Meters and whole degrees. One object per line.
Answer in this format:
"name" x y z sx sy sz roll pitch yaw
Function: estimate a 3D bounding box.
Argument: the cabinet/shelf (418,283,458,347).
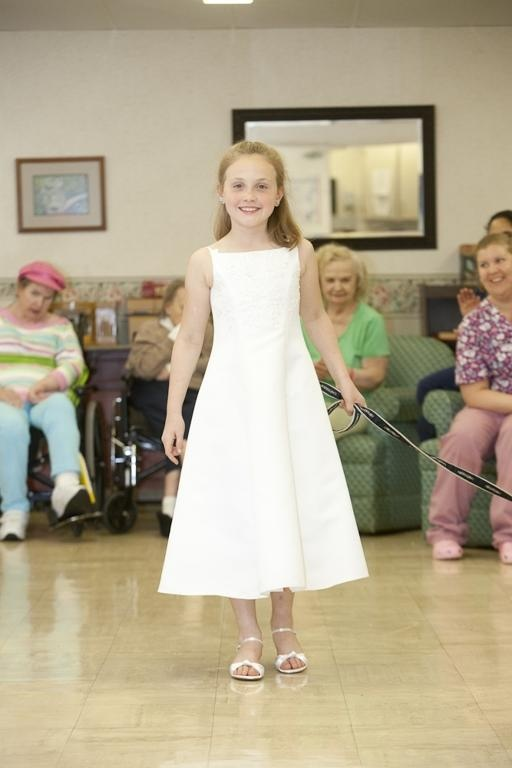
"cabinet/shelf" 1.154 -0.378 4.610 0.175 0.484 0.283 2 10 16

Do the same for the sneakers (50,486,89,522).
"sneakers" -0.790 0.514 3.116 0.119 0.145 0.186 2 -13 -35

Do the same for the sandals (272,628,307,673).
"sandals" 0.072 0.542 1.469 0.044 0.042 0.111 -3 19 -6

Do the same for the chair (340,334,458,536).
"chair" 0.862 0.212 3.670 0.877 0.947 0.910 2 -1 6

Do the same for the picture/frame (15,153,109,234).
"picture/frame" -1.196 -1.212 4.505 0.565 0.426 0.045 -1 -1 0

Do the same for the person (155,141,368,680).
"person" 0.008 0.039 1.456 0.439 1.019 0.326 -2 4 -6
